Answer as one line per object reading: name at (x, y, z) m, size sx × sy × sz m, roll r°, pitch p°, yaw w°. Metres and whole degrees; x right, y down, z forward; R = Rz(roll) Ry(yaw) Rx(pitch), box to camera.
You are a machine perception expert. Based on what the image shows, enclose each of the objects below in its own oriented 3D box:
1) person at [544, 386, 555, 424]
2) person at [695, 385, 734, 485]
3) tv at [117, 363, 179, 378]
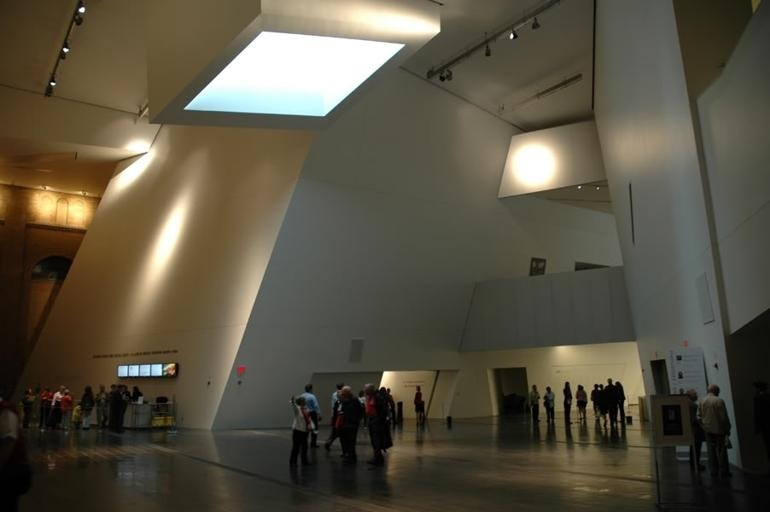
person at (7.082, 6.363, 21.646) m, size 0.363 × 1.396 × 2.228 m, roll -3°, pitch -17°, yaw 18°
person at (6.027, 3.165, 9.168) m, size 0.474 × 1.620 × 0.621 m, roll -8°, pitch -19°, yaw 33°
tv at (-9.434, 4.568, 19.921) m, size 3.966 × 0.582 × 0.370 m, roll -10°, pitch -20°, yaw 37°
